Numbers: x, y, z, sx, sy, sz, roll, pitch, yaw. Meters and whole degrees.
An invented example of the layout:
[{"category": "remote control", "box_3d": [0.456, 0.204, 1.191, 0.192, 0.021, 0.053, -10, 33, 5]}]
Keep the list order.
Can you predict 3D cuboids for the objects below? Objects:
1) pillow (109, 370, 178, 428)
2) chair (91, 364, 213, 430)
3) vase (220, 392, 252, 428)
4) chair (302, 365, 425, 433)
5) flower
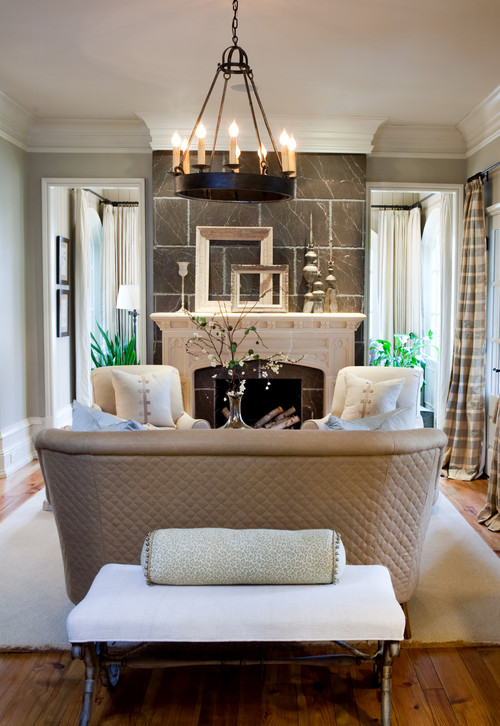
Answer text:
[{"category": "pillow", "box_3d": [-0.700, 0.235, 3.602, 0.331, 0.335, 0.131, 1, -18, -17]}, {"category": "chair", "box_3d": [-0.731, 0.249, 3.847, 0.647, 0.600, 0.526, 1, -8, -26]}, {"category": "vase", "box_3d": [-0.113, 0.231, 3.102, 0.211, 0.244, 0.231, 0, -2, 9]}, {"category": "chair", "box_3d": [0.696, 0.217, 3.439, 0.548, 0.526, 0.482, -4, -13, 36]}, {"category": "flower", "box_3d": [-0.165, -0.112, 4.189, 0.870, 0.894, 1.367, 1, 10, 11]}]
